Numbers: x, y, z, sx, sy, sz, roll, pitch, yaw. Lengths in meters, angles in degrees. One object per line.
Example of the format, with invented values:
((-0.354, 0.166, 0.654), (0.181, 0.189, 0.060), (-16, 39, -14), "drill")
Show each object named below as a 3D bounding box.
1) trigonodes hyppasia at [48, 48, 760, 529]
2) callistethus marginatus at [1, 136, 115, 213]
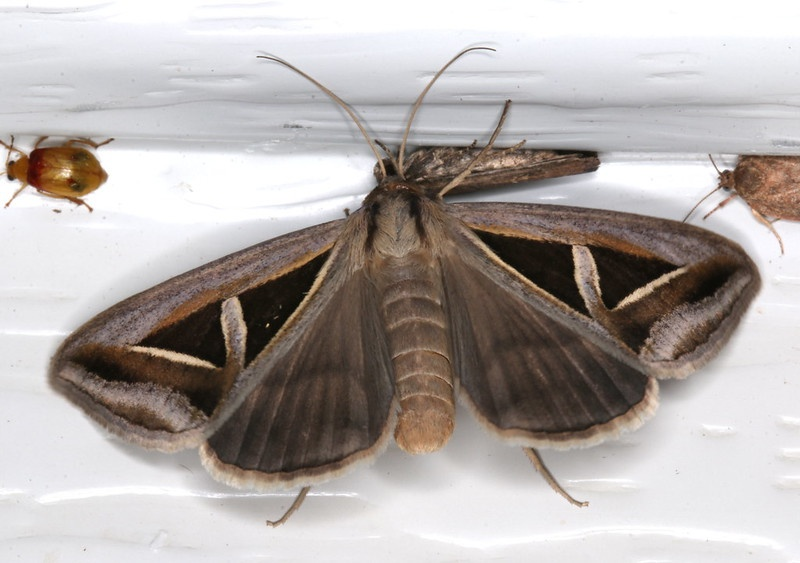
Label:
((0.137, -0.084, 4.055), (2.927, 2.214, 0.498), (4, -19, 4), "trigonodes hyppasia")
((-1.805, -0.582, 4.501), (0.578, 0.255, 0.778), (-10, 17, -28), "callistethus marginatus")
